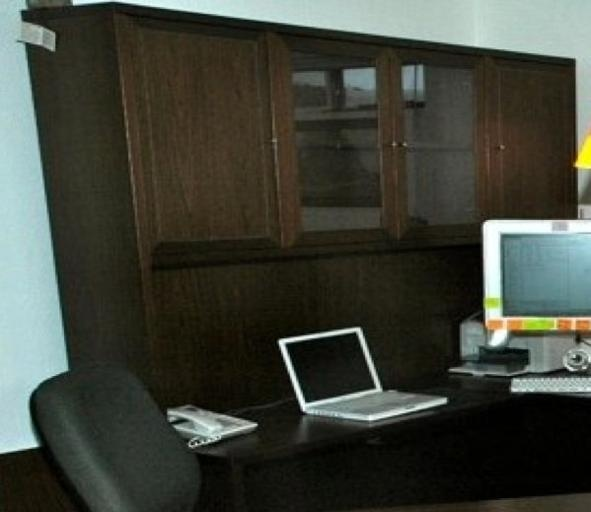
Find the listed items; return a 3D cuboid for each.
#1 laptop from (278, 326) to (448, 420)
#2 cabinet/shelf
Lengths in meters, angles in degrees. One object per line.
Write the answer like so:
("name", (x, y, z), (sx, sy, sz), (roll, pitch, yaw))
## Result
("laptop", (0.226, 0.456, 2.218), (0.367, 0.248, 0.396), (-7, -1, 44))
("cabinet/shelf", (-0.025, -0.144, 2.329), (1.797, 1.746, 0.496), (-5, 3, -43))
